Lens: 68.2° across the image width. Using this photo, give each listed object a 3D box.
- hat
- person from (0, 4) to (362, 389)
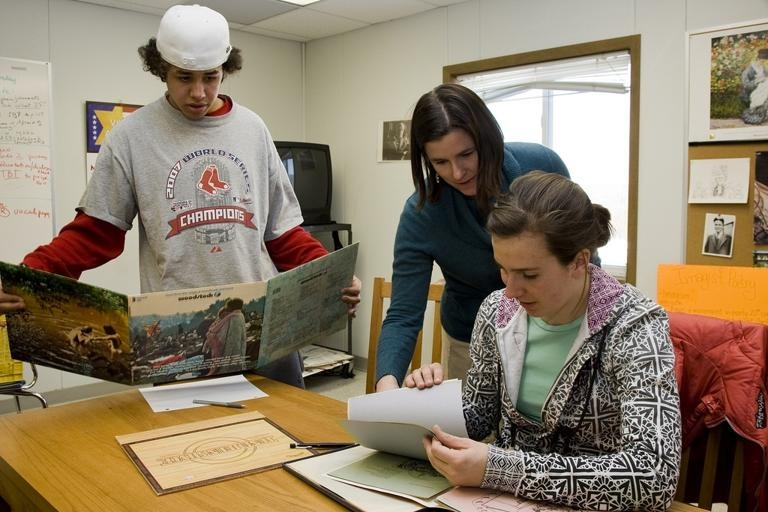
[{"bbox_3d":[-0.688,-0.785,2.033,0.256,0.270,0.181,-4,6,-13],"label":"hat"},{"bbox_3d":[-0.740,-0.396,2.104,0.974,1.045,0.350,-4,6,-6],"label":"person"}]
